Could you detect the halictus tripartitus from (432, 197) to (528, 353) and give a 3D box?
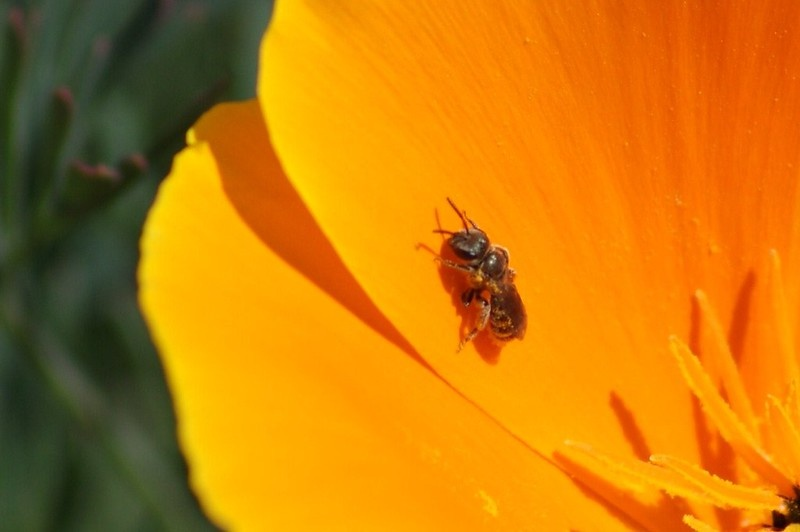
[{"bbox_3d":[0.149,0.038,1.637,0.073,0.183,0.232,-18,-68,32],"label":"halictus tripartitus"}]
